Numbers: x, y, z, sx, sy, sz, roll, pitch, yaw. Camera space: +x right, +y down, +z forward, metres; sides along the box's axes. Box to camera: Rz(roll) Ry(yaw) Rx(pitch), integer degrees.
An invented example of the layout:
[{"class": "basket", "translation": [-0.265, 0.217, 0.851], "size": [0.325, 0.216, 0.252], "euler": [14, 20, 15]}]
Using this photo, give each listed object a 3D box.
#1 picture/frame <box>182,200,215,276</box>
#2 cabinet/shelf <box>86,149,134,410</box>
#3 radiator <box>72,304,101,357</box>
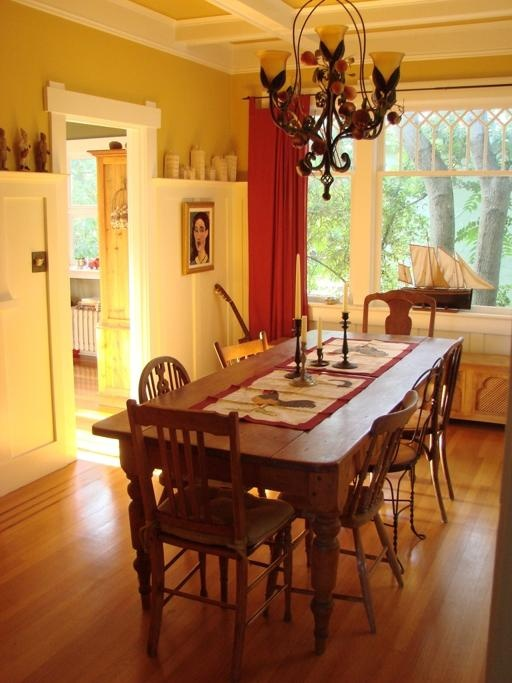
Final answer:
[{"class": "picture/frame", "translation": [-0.546, -0.965, 5.035], "size": [0.054, 0.753, 0.662], "euler": [5, 10, 26]}, {"class": "cabinet/shelf", "translation": [-1.416, -0.934, 5.141], "size": [0.231, 1.578, 0.288], "euler": [-23, 39, -39]}, {"class": "radiator", "translation": [-2.034, -0.162, 6.556], "size": [0.567, 0.586, 0.033], "euler": [15, 26, 25]}]
